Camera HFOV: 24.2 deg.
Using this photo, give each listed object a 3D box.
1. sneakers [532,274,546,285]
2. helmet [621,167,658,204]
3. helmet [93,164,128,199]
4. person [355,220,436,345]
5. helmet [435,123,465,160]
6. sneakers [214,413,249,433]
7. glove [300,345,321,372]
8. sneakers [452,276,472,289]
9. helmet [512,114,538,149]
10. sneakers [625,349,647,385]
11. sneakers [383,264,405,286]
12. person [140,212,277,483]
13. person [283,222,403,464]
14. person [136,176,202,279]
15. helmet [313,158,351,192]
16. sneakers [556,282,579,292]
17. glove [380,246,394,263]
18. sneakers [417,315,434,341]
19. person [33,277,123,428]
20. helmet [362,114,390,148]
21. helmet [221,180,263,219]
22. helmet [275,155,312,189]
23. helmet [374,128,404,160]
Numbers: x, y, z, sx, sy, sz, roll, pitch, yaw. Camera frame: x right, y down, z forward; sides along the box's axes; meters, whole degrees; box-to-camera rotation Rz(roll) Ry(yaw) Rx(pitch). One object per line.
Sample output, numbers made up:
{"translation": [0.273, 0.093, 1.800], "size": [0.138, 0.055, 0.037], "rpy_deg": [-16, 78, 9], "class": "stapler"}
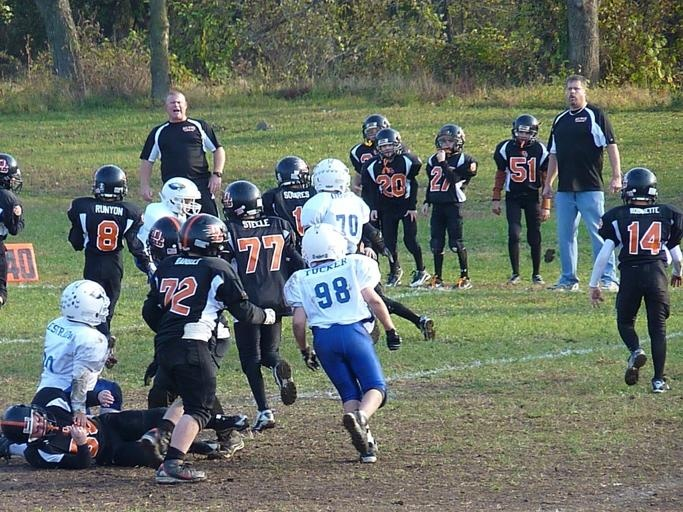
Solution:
{"translation": [3.602, 0.456, 29.399], "size": [0.130, 0.160, 0.251], "rpy_deg": [-2, -3, -5], "class": "sneakers"}
{"translation": [4.637, -1.130, 24.974], "size": [0.430, 0.482, 0.566], "rpy_deg": [1, 15, -1], "class": "helmet"}
{"translation": [-3.808, -1.204, 26.080], "size": [0.457, 0.513, 0.583], "rpy_deg": [2, 16, -7], "class": "helmet"}
{"translation": [0.602, 0.577, 25.392], "size": [1.544, 1.932, 0.963], "rpy_deg": [-15, 18, -31], "class": "person"}
{"translation": [1.936, -2.153, 29.689], "size": [0.471, 0.558, 0.626], "rpy_deg": [4, 0, 26], "class": "helmet"}
{"translation": [-1.657, 2.489, 23.552], "size": [0.596, 0.265, 0.203], "rpy_deg": [8, -3, 0], "class": "sneakers"}
{"translation": [-0.490, 1.564, 24.049], "size": [0.232, 0.396, 0.106], "rpy_deg": [-31, 25, -12], "class": "glove"}
{"translation": [2.182, 0.524, 29.209], "size": [0.316, 0.205, 0.184], "rpy_deg": [2, -2, -34], "class": "sneakers"}
{"translation": [3.338, -2.289, 29.191], "size": [0.444, 0.580, 0.375], "rpy_deg": [-2, 5, 4], "class": "helmet"}
{"translation": [4.489, 1.764, 24.478], "size": [0.271, 0.609, 0.280], "rpy_deg": [9, 11, -4], "class": "sneakers"}
{"translation": [0.956, 0.362, 29.577], "size": [0.182, 0.506, 0.230], "rpy_deg": [6, -30, 48], "class": "sneakers"}
{"translation": [-2.139, 1.350, 23.350], "size": [1.507, 3.826, 0.884], "rpy_deg": [-3, 5, -8], "class": "person"}
{"translation": [-0.023, 1.302, 23.551], "size": [1.449, 3.481, 1.129], "rpy_deg": [-2, 5, 8], "class": "person"}
{"translation": [-2.736, -0.518, 25.951], "size": [0.855, 1.565, 0.749], "rpy_deg": [-14, 28, -18], "class": "person"}
{"translation": [-0.168, -1.300, 25.742], "size": [0.585, 0.486, 0.457], "rpy_deg": [-6, 11, 0], "class": "helmet"}
{"translation": [4.021, 0.558, 28.593], "size": [0.443, 0.188, 0.152], "rpy_deg": [4, 2, -2], "class": "sneakers"}
{"translation": [0.738, -0.080, 27.085], "size": [0.182, 0.150, 0.455], "rpy_deg": [-18, -28, 2], "class": "glove"}
{"translation": [1.342, 1.179, 25.280], "size": [0.215, 0.451, 0.172], "rpy_deg": [2, 51, 22], "class": "sneakers"}
{"translation": [-3.975, 1.567, 24.169], "size": [1.298, 2.269, 0.765], "rpy_deg": [26, 17, 24], "class": "person"}
{"translation": [0.566, -2.342, 29.617], "size": [0.458, 0.484, 0.583], "rpy_deg": [-6, 8, 22], "class": "helmet"}
{"translation": [-1.531, -0.870, 24.714], "size": [0.622, 0.529, 0.479], "rpy_deg": [2, 8, 14], "class": "helmet"}
{"translation": [-0.798, -1.382, 26.016], "size": [0.529, 0.420, 0.407], "rpy_deg": [-2, 12, -9], "class": "helmet"}
{"translation": [0.817, -2.053, 28.802], "size": [0.419, 0.453, 0.550], "rpy_deg": [-7, 9, 10], "class": "helmet"}
